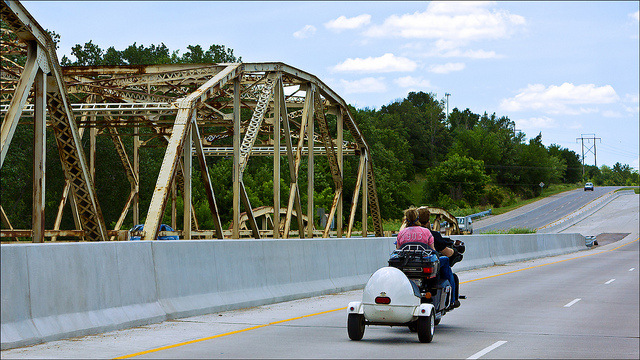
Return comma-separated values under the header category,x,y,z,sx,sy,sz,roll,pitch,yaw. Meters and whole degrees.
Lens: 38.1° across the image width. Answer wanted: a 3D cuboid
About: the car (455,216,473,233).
category,x,y,z,sx,sy,sz,roll,pitch,yaw
car,14.894,4.637,96.360,1.648,1.353,2.614,-3,-9,17
